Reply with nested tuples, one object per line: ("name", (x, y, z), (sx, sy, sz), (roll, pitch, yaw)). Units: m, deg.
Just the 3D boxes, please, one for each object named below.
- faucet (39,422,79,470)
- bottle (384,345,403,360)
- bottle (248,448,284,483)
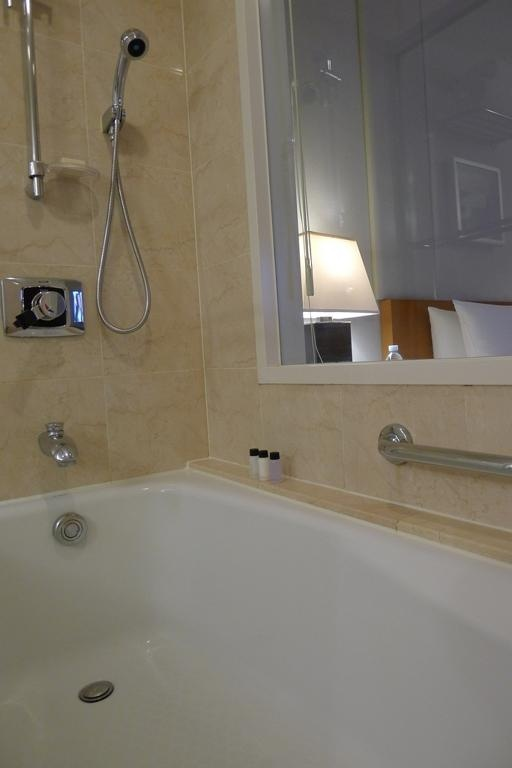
("faucet", (-0.514, 0.162, 1.499), (0.088, 0.112, 0.194), (-3, 2, -21))
("bottle", (0.280, -0.064, 1.174), (0.005, 0.034, 0.047), (-3, 2, -26))
("bottle", (0.029, 0.215, 1.518), (0.024, 0.068, 0.071), (-4, 6, -35))
